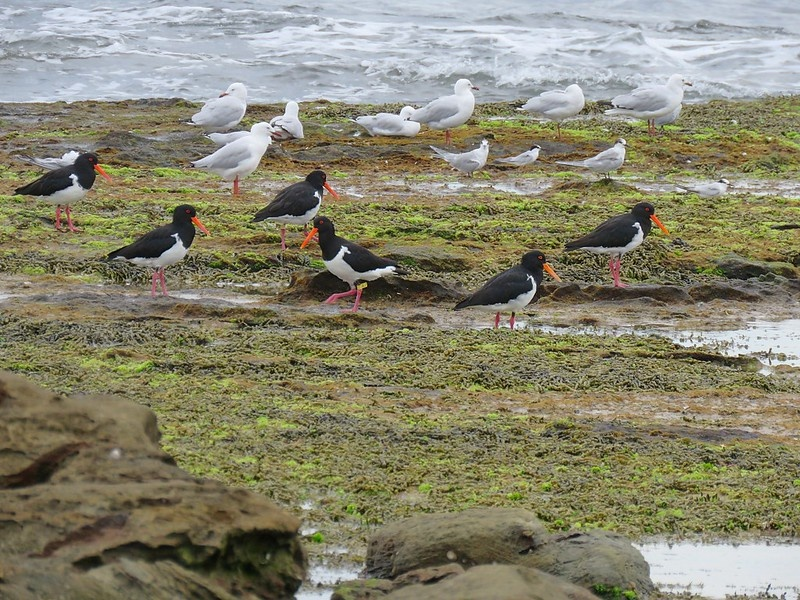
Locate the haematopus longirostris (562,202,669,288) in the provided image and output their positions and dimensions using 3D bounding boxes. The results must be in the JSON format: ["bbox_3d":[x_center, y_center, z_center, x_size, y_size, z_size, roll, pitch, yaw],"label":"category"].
[{"bbox_3d":[3.392,-0.916,17.206,1.113,1.288,1.394,4,11,15],"label":"haematopus longirostris"}]

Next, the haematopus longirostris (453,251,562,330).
[{"bbox_3d":[1.495,-0.137,15.024,0.915,1.074,1.040,5,12,19],"label":"haematopus longirostris"}]

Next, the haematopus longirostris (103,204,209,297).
[{"bbox_3d":[-3.598,-0.734,15.732,0.919,1.324,0.920,4,13,17],"label":"haematopus longirostris"}]

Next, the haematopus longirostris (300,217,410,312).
[{"bbox_3d":[-0.750,-0.498,15.508,0.908,1.288,0.912,-11,16,-42],"label":"haematopus longirostris"}]

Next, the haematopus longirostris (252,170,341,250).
[{"bbox_3d":[-1.890,-1.656,18.213,0.798,0.965,1.657,33,34,33],"label":"haematopus longirostris"}]

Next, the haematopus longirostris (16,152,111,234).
[{"bbox_3d":[-6.003,-1.915,18.781,1.325,1.365,1.048,2,12,9],"label":"haematopus longirostris"}]
